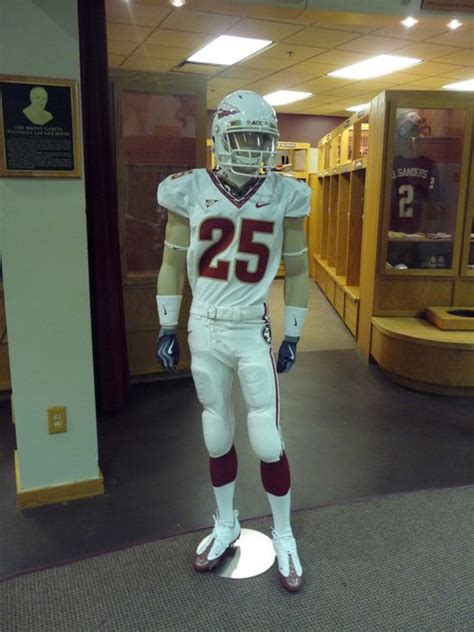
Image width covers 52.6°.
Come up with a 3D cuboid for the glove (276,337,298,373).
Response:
[{"bbox_3d":[0.167,0.136,1.699,0.070,0.123,0.048,17,-4,-11],"label":"glove"}]

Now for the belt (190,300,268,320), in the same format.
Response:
[{"bbox_3d":[-0.032,-0.016,1.536,0.252,0.057,0.116,0,17,3],"label":"belt"}]

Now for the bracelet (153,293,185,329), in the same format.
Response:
[{"bbox_3d":[-0.236,-0.022,1.694,0.109,0.111,0.099,1,1,3],"label":"bracelet"}]

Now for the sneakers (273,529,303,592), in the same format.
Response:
[{"bbox_3d":[0.173,0.806,1.598,0.087,0.081,0.229,0,21,-8],"label":"sneakers"}]

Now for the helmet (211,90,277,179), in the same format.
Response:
[{"bbox_3d":[0.019,-0.559,1.450,0.183,0.252,0.240,-13,20,-32],"label":"helmet"}]

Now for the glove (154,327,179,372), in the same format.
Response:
[{"bbox_3d":[-0.230,0.115,1.654,0.058,0.130,0.101,-2,-13,5],"label":"glove"}]

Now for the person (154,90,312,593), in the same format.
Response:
[{"bbox_3d":[-0.035,0.098,1.555,0.514,1.562,0.469,1,17,8],"label":"person"}]

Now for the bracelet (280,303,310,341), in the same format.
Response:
[{"bbox_3d":[0.212,0.023,1.756,0.100,0.154,0.121,7,2,37],"label":"bracelet"}]

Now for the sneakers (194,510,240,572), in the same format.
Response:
[{"bbox_3d":[-0.071,0.791,1.723,0.088,0.135,0.242,2,7,27],"label":"sneakers"}]
